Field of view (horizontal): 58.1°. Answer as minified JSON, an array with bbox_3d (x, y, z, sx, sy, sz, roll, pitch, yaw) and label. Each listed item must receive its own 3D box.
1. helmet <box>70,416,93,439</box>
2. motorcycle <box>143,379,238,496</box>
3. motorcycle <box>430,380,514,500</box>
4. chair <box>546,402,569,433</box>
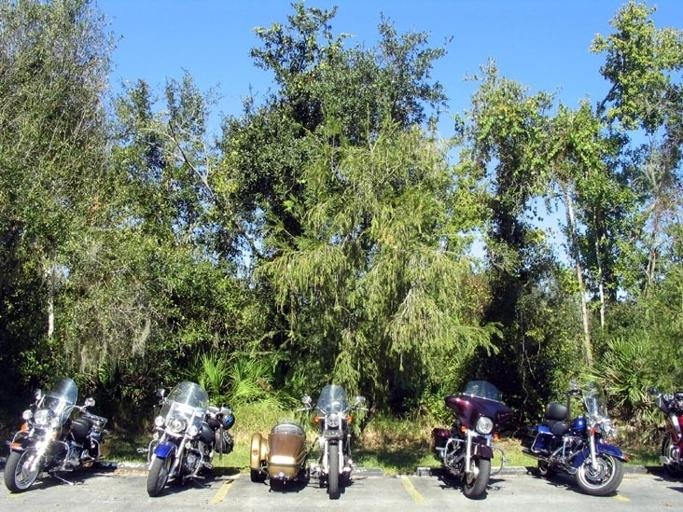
[{"bbox_3d":[-5.584,3.654,13.237,0.415,0.372,0.704,9,-44,-17],"label":"helmet"},{"bbox_3d":[-3.200,3.772,12.832,0.744,2.171,1.971,1,-1,36],"label":"motorcycle"},{"bbox_3d":[2.693,3.850,12.969,1.035,2.084,1.413,1,0,-44],"label":"motorcycle"},{"bbox_3d":[4.842,3.703,13.763,0.389,0.646,0.604,9,12,16],"label":"chair"}]
